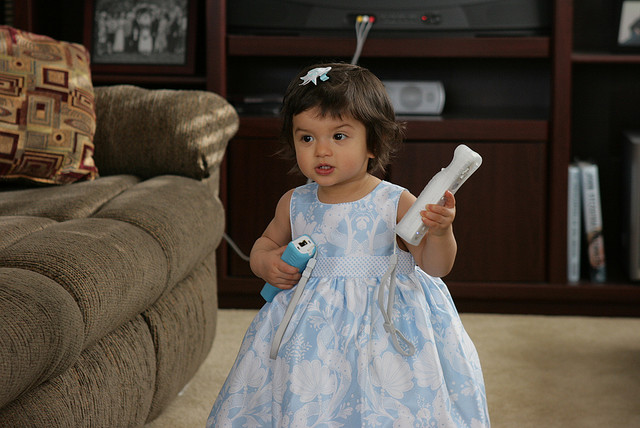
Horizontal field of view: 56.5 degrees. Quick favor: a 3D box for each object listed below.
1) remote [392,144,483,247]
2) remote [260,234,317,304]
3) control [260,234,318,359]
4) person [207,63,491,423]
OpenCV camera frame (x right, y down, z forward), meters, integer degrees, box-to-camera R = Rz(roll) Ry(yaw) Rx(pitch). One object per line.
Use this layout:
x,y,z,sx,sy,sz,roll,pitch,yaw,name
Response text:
0.253,-0.031,1.297,0.186,0.225,0.102,1,14,7,remote
-0.068,0.132,1.370,0.063,0.183,0.041,5,38,-37,remote
-0.067,0.187,1.394,0.138,0.255,0.082,21,6,16,control
0.070,0.070,1.323,0.614,0.781,0.361,2,14,12,person
